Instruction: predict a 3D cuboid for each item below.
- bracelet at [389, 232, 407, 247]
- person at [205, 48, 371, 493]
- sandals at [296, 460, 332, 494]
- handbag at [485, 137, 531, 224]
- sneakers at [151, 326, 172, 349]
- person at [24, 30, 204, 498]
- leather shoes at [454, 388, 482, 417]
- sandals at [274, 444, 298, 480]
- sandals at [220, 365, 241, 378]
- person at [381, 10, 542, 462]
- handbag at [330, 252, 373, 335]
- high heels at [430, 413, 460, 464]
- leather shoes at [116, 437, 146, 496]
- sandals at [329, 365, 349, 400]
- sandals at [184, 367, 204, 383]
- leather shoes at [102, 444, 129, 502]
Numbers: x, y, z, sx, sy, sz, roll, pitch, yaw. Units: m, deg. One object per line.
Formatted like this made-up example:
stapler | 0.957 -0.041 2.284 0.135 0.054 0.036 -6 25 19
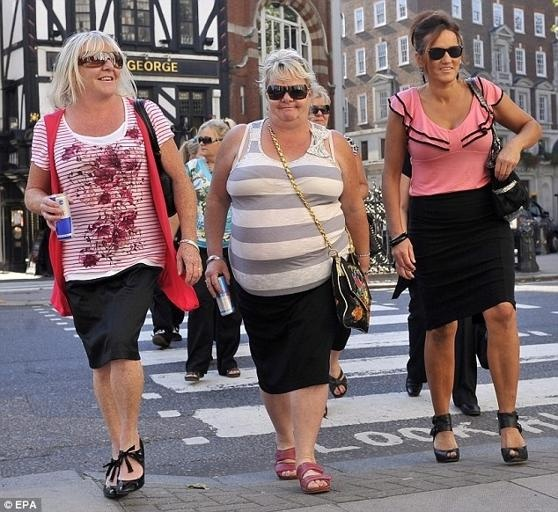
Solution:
bracelet | 0.665 -0.089 4.686 0.083 0.022 0.085 -25 1 8
person | -0.017 0.019 4.336 0.816 2.216 0.751 -1 1 13
sandals | 0.164 1.036 3.956 0.155 0.110 0.175 -1 2 1
handbag | 1.232 -0.416 4.585 0.207 0.476 0.288 -1 1 15
sneakers | -1.254 0.872 9.044 0.110 0.132 0.289 2 -32 5
person | -0.887 -0.033 4.125 0.699 2.170 0.713 -1 1 20
leather shoes | 1.300 1.024 5.902 0.094 0.109 0.272 -2 -1 -8
sandals | 0.041 1.042 4.396 0.141 0.108 0.381 -2 10 -4
sandals | -0.414 1.017 7.355 0.204 0.082 0.075 -4 2 31
person | 0.956 -0.166 4.578 0.828 2.418 0.558 -1 1 16
handbag | 0.380 0.195 4.326 0.155 0.410 0.312 -1 1 22
high heels | 0.908 0.975 4.647 0.142 0.229 0.415 -4 0 5
leather shoes | -0.698 0.976 3.926 0.137 0.160 0.431 -3 4 -5
sandals | 0.435 0.949 6.236 0.098 0.276 0.074 -7 -36 3
sandals | -0.706 1.001 7.071 0.079 0.089 0.214 0 -14 2
leather shoes | -0.725 0.987 3.891 0.111 0.150 0.354 -1 2 6
